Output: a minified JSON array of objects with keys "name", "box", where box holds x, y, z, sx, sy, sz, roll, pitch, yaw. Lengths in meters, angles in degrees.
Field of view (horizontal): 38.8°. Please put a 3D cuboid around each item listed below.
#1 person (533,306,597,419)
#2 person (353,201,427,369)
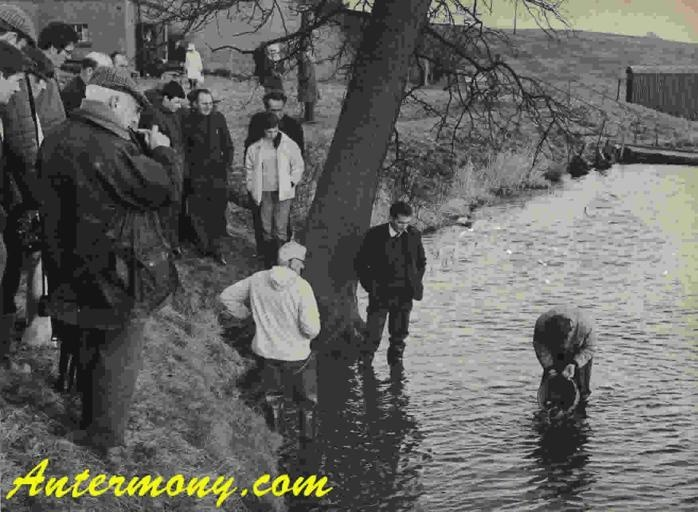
[{"name":"person","box":[2.164,1.095,10.161,0.690,1.174,0.351,7,14,0]},{"name":"person","box":[0.389,0.322,10.460,0.691,1.901,0.458,8,26,10]}]
